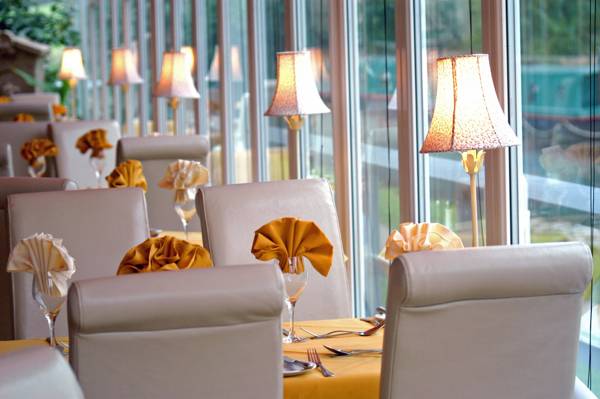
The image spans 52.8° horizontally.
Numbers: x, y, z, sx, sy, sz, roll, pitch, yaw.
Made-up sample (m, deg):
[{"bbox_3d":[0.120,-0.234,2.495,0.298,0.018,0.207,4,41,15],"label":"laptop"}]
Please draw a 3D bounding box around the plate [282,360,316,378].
[{"bbox_3d":[-0.004,0.509,1.851,0.106,0.027,0.088,-5,4,-13],"label":"plate"}]

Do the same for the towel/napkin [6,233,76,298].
[{"bbox_3d":[-0.756,0.186,1.780,0.165,0.209,0.119,1,21,-5],"label":"towel/napkin"}]

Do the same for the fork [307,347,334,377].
[{"bbox_3d":[0.064,0.486,1.881,0.028,0.042,0.233,-6,17,-9],"label":"fork"}]

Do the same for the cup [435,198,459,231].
[{"bbox_3d":[0.746,0.077,3.102,0.111,0.262,0.119,0,3,0],"label":"cup"}]

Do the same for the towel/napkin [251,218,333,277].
[{"bbox_3d":[-0.020,0.142,1.990,0.225,0.200,0.111,7,10,1],"label":"towel/napkin"}]

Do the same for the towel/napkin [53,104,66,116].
[{"bbox_3d":[-2.774,-1.033,7.020,0.133,0.063,0.168,6,23,-2],"label":"towel/napkin"}]
